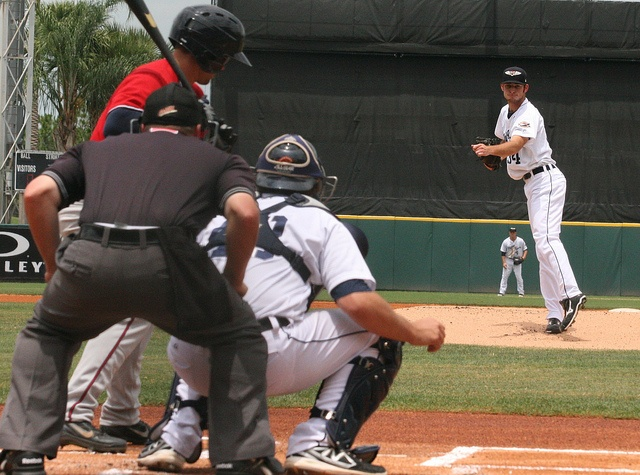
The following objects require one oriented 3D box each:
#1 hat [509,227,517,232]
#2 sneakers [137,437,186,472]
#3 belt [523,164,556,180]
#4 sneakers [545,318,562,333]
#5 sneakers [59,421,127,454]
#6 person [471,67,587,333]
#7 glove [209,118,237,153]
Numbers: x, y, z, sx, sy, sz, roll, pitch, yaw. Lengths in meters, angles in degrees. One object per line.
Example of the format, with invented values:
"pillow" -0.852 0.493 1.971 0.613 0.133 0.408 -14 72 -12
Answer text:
"hat" 3.950 -0.156 20.657 0.122 0.087 0.199 1 -3 8
"sneakers" -1.395 1.974 9.100 0.443 0.274 0.216 9 -29 5
"belt" 2.778 -0.793 12.901 0.244 0.073 0.247 -26 -8 0
"sneakers" 3.021 1.149 13.112 0.166 0.176 0.395 -1 -6 17
"sneakers" -2.127 1.843 9.430 0.629 0.267 0.250 12 -4 -7
"person" 2.759 -0.425 12.929 1.465 3.373 0.918 7 13 27
"glove" -0.918 -0.958 9.475 0.237 0.120 0.303 25 -12 0
